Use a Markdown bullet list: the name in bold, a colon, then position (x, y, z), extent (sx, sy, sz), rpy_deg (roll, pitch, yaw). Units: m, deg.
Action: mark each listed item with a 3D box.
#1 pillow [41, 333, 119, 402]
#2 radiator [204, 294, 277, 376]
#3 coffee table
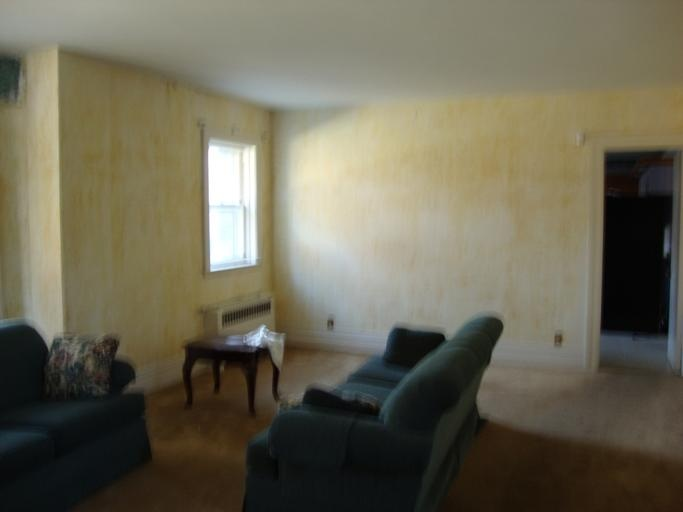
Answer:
- **pillow**: position (-1.850, 0.773, 3.988), extent (0.424, 0.467, 0.134), rpy_deg (3, -5, 7)
- **radiator**: position (-1.108, 0.823, 6.481), extent (0.194, 0.637, 1.050), rpy_deg (-7, 0, 27)
- **coffee table**: position (-0.988, 1.040, 5.144), extent (0.805, 0.571, 0.803), rpy_deg (1, 1, -4)
